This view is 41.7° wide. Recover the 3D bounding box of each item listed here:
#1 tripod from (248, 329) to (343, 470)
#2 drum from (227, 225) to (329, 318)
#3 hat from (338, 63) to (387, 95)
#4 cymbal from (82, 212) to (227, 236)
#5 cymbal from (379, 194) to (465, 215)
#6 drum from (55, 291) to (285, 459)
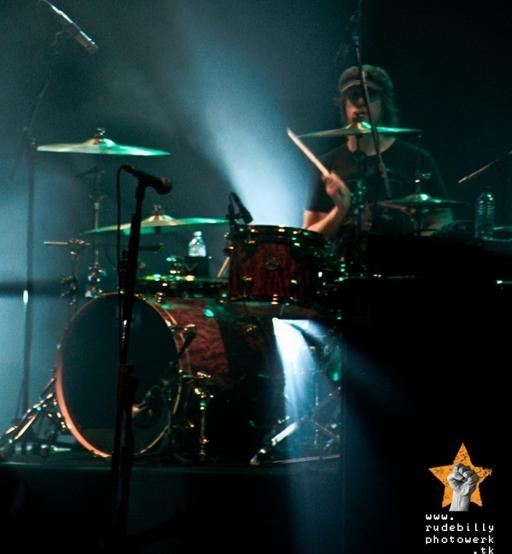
[{"bbox_3d":[0.255,0.629,3.852,0.439,0.764,0.601,-1,-6,11],"label":"tripod"},{"bbox_3d":[0.183,-0.025,4.039,0.653,0.351,0.574,1,-9,13],"label":"drum"},{"bbox_3d":[0.793,-1.429,4.845,0.388,0.148,0.256,8,7,9],"label":"hat"},{"bbox_3d":[-0.688,-0.369,4.647,0.927,0.163,0.498,1,-5,-10],"label":"cymbal"},{"bbox_3d":[1.002,-0.460,4.135,0.456,0.109,0.421,-1,-5,11],"label":"cymbal"},{"bbox_3d":[-0.420,0.632,4.204,1.499,0.908,1.134,-3,-6,38],"label":"drum"}]
